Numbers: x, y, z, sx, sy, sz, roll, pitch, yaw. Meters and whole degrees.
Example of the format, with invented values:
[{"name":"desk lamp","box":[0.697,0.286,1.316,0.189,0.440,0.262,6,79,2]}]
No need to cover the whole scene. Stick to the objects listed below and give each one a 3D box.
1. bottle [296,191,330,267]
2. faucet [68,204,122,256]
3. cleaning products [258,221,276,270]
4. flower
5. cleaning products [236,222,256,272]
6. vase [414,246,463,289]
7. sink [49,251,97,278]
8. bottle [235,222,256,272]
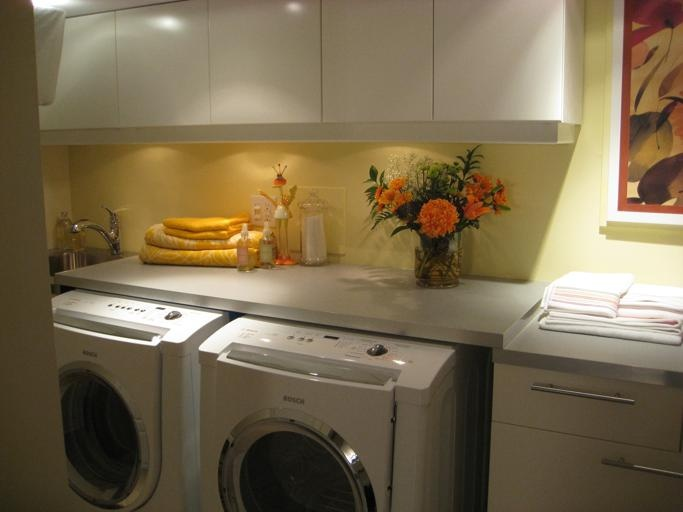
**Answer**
[{"name":"bottle","box":[-0.127,-0.127,2.477,0.133,0.336,0.109,1,7,-4]},{"name":"faucet","box":[-1.370,-0.145,3.026,0.270,0.258,0.198,1,7,-3]},{"name":"cleaning products","box":[-0.337,-0.051,2.424,0.068,0.206,0.060,0,7,-13]},{"name":"flower","box":[0.359,-0.168,2.114,0.513,0.552,0.539,2,7,5]},{"name":"cleaning products","box":[-0.433,-0.041,2.398,0.077,0.206,0.136,0,7,-11]},{"name":"vase","box":[0.368,0.043,2.024,0.148,0.128,0.153,0,1,2]},{"name":"sink","box":[-1.503,0.030,2.926,0.230,0.100,0.268,7,8,36]},{"name":"bottle","box":[-0.433,-0.041,2.398,0.077,0.206,0.136,0,7,-11]}]
